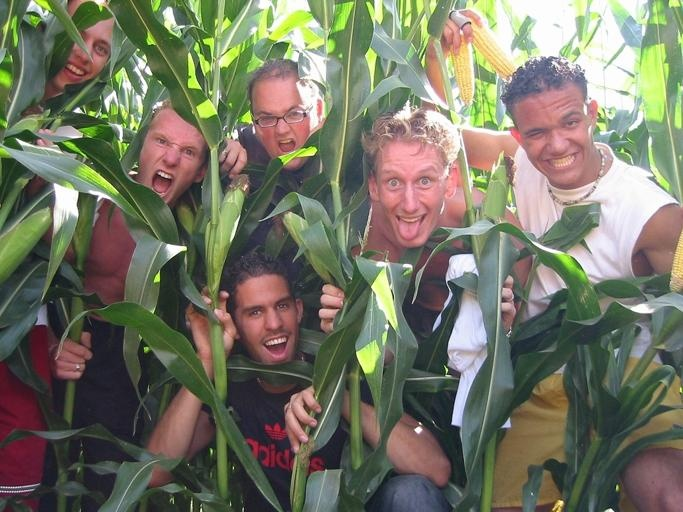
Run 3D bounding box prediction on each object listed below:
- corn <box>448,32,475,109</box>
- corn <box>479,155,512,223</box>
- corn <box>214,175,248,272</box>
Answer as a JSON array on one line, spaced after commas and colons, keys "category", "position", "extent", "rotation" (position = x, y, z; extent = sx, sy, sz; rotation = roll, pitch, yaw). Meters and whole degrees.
[{"category": "corn", "position": [0.553, -0.837, 2.966], "extent": [0.087, 0.323, 0.109], "rotation": [0, 6, 4]}, {"category": "corn", "position": [0.646, -0.260, 2.696], "extent": [0.086, 0.313, 0.092], "rotation": [0, 10, 1]}, {"category": "corn", "position": [-0.443, -0.142, 2.576], "extent": [0.085, 0.441, 0.101], "rotation": [6, -18, 23]}]
